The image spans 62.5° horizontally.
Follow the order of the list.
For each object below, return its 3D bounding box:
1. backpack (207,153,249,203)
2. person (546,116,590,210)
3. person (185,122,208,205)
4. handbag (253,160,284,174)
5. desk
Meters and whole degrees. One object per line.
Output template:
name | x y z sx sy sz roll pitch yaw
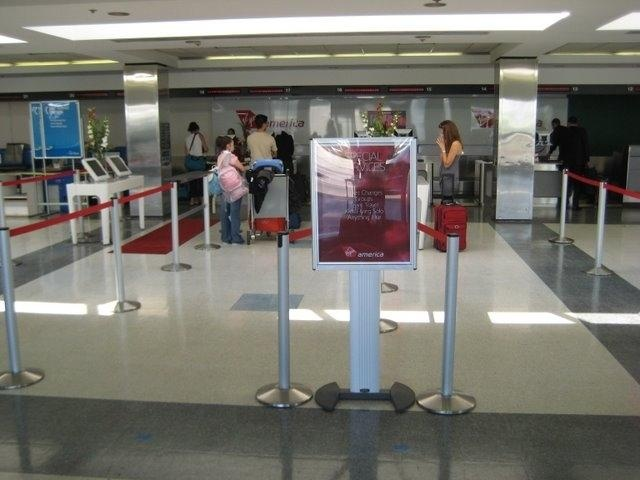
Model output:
backpack | -1.566 -1.120 9.324 0.548 0.922 0.310 3 11 22
person | 6.158 -1.922 13.080 0.921 2.202 1.469 4 11 23
person | -3.261 -1.980 13.827 0.583 2.106 1.167 -3 11 -13
handbag | -0.784 -1.120 7.919 0.382 0.129 0.274 0 8 -2
desk | -3.968 -0.537 9.716 0.829 0.996 1.593 1 8 3
